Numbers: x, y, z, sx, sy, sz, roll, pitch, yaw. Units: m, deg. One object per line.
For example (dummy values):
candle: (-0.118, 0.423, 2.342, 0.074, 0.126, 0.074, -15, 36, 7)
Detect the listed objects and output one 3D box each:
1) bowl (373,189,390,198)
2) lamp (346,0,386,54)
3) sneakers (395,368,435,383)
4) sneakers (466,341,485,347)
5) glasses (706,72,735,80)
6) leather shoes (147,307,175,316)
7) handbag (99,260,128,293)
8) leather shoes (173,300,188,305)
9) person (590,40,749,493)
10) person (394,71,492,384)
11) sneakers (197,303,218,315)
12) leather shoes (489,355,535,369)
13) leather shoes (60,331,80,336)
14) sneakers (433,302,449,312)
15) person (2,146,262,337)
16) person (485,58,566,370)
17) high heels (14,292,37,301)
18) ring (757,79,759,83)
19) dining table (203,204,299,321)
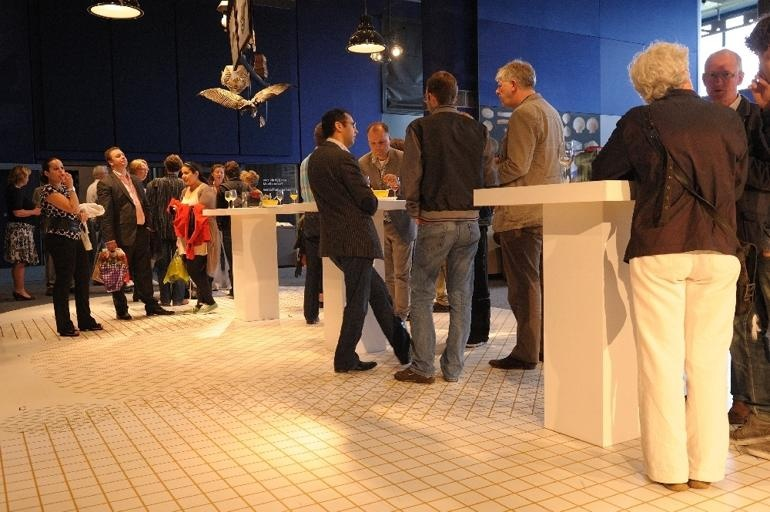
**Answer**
bowl: (-0.036, -0.523, 5.340, 0.113, 0.044, 0.098, -2, 3, 33)
lamp: (-0.289, -3.256, 9.087, 0.530, 0.527, 0.548, -6, 11, -22)
sneakers: (0.210, 0.911, 4.738, 0.308, 0.126, 0.113, 6, 0, 12)
sneakers: (0.808, 0.800, 5.608, 0.158, 0.066, 0.052, -5, 4, -10)
glasses: (2.048, -1.109, 3.861, 0.081, 0.022, 0.079, 3, 3, 38)
leather shoes: (-2.666, 0.674, 7.537, 0.335, 0.128, 0.108, -2, 1, -18)
handbag: (-3.007, 0.218, 6.983, 0.304, 0.366, 0.215, 12, 30, 4)
leather shoes: (-2.687, 0.627, 8.297, 0.179, 0.076, 0.056, -10, 16, -30)
person: (1.487, 0.045, 3.292, 0.643, 2.289, 0.504, 3, 11, 27)
person: (0.424, -0.201, 4.659, 0.738, 2.275, 0.457, -1, 10, 9)
sneakers: (-2.150, 0.655, 7.617, 0.220, 0.089, 0.092, 0, -7, -13)
leather shoes: (0.999, 0.852, 4.983, 0.370, 0.147, 0.125, 4, -2, 7)
leather shoes: (-3.198, 0.783, 6.385, 0.182, 0.045, 0.071, -1, 1, 12)
sneakers: (0.642, 0.598, 7.091, 0.154, 0.066, 0.188, 0, -3, -19)
person: (-3.088, -0.150, 6.776, 0.744, 1.964, 1.447, -1, 10, 6)
person: (1.018, -0.389, 4.924, 0.742, 2.200, 0.750, 1, 3, 34)
high heels: (-5.134, 0.593, 8.984, 0.274, 0.129, 0.139, -3, 5, -23)
ring: (2.078, -0.975, 3.496, 0.021, 0.020, 0.006, -1, -4, 25)
dining table: (-1.401, 0.038, 7.083, 1.072, 1.303, 1.091, -1, 8, 4)
